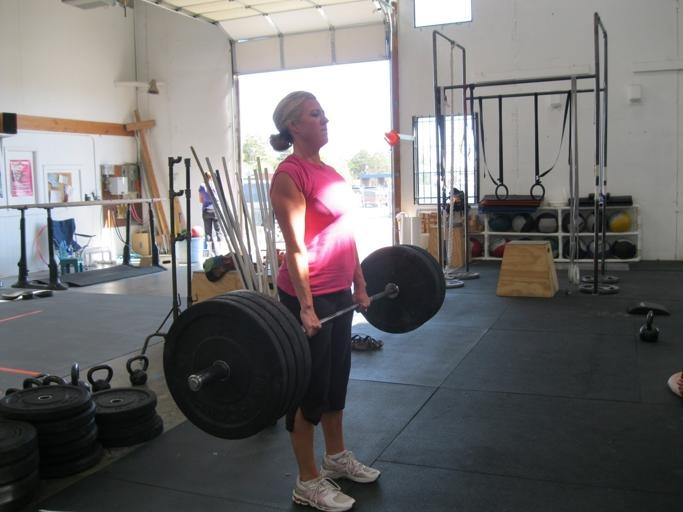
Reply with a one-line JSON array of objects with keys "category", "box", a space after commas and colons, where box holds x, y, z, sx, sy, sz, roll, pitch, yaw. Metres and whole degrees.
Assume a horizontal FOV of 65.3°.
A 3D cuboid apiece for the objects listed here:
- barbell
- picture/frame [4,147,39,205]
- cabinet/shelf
[{"category": "barbell", "box": [-0.021, 0.365, 2.841, 0.670, 0.732, 1.831, 25, 27, 24]}, {"category": "picture/frame", "box": [-5.862, -1.444, 9.696, 0.107, 0.950, 0.727, -2, 8, 18]}, {"category": "cabinet/shelf", "box": [3.671, -0.354, 9.085, 3.044, 0.935, 0.843, 6, 8, 23]}]
